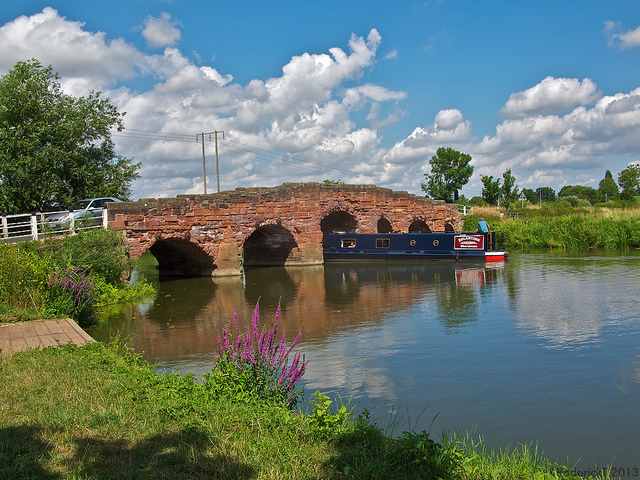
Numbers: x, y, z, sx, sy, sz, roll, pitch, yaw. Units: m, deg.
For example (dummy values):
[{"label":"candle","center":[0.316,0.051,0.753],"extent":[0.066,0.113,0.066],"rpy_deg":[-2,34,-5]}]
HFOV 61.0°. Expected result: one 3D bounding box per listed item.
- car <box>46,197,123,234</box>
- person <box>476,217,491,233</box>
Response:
[{"label":"car","center":[-9.697,-1.106,22.138],"extent":[1.603,1.466,3.668],"rpy_deg":[0,-2,28]},{"label":"person","center":[8.334,-0.706,27.767],"extent":[0.470,0.689,1.726],"rpy_deg":[-1,4,15]}]
